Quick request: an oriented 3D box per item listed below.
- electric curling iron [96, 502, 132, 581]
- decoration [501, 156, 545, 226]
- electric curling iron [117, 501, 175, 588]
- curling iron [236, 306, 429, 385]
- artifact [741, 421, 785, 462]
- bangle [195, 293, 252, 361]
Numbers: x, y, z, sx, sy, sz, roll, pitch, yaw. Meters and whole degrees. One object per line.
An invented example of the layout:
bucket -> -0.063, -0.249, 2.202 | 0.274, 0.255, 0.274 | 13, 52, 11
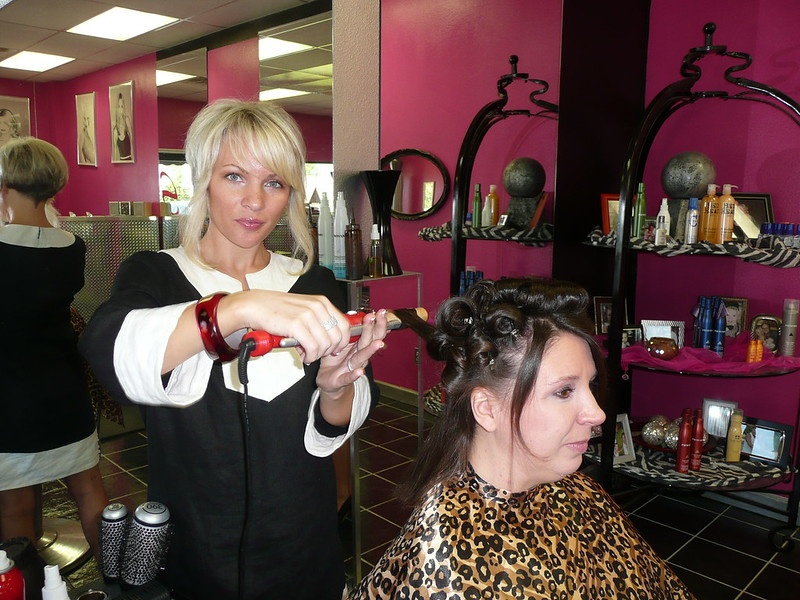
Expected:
electric curling iron -> -0.662, 0.560, 1.443 | 0.057, 0.201, 0.079 | 1, 3, -3
decoration -> 0.664, -0.548, 3.336 | 0.200, 0.462, 0.208 | 9, 17, 30
electric curling iron -> -0.589, 0.571, 1.426 | 0.098, 0.235, 0.069 | 3, 4, 35
curling iron -> -0.128, 0.058, 1.389 | 0.468, 0.098, 0.102 | -5, 8, -37
artifact -> 1.797, 0.707, 3.036 | 0.189, 0.185, 0.078 | 6, -1, 28
bangle -> -0.393, 0.062, 1.342 | 0.051, 0.140, 0.120 | -3, 42, 25
